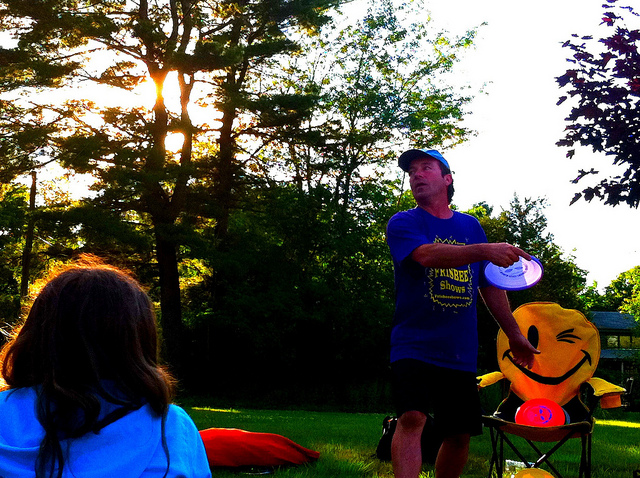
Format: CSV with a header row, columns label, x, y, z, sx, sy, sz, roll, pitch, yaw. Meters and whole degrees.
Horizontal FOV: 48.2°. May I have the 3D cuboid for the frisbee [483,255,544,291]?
label,x,y,z,sx,sy,sz,roll,pitch,yaw
frisbee,1.239,0.210,4.600,0.297,0.237,0.369,12,2,-4

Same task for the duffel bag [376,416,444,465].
label,x,y,z,sx,sy,sz,roll,pitch,yaw
duffel bag,0.877,1.974,7.090,0.608,0.495,0.486,13,3,17
